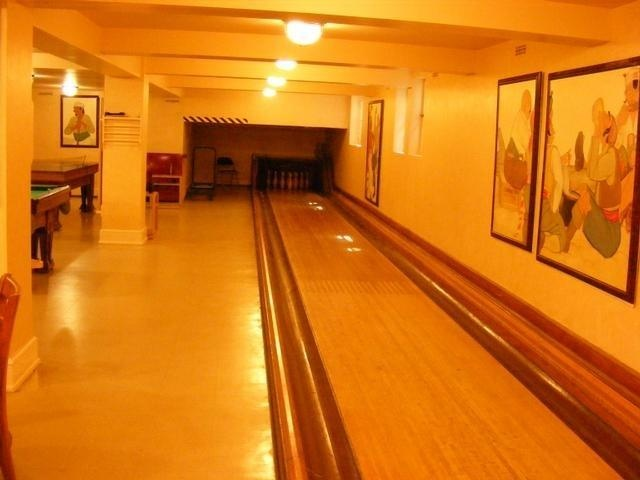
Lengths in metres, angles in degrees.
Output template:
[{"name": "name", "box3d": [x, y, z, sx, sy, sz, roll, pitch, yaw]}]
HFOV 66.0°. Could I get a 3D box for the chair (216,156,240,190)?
[{"name": "chair", "box3d": [-3.473, -2.569, 18.540, 0.859, 1.102, 0.942, -1, 12, -13]}]
